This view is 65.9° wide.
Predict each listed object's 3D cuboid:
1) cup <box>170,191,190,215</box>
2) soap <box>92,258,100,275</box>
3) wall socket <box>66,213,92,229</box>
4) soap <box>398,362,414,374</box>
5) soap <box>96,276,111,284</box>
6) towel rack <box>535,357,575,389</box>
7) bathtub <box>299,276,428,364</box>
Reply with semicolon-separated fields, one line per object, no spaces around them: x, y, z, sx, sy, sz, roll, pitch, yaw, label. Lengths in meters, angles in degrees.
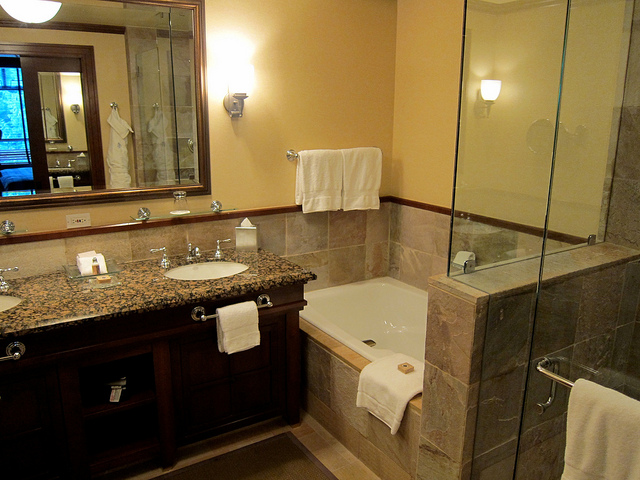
-0.861;-0.229;3.092;0.128;0.144;0.131;1;9;0;cup
-1.234;0.146;2.730;0.034;0.083;0.044;-7;14;-15;soap
-1.385;-0.110;2.842;0.123;0.081;0.022;-10;15;-23;wall socket
0.461;0.691;2.660;0.086;0.026;0.068;-10;15;-24;soap
-1.167;0.219;2.674;0.068;0.025;0.066;-10;15;-24;soap
0.917;0.531;1.950;0.101;0.014;0.100;20;4;-22;towel rack
0.324;0.546;3.617;0.529;0.259;0.723;-6;13;-36;bathtub
